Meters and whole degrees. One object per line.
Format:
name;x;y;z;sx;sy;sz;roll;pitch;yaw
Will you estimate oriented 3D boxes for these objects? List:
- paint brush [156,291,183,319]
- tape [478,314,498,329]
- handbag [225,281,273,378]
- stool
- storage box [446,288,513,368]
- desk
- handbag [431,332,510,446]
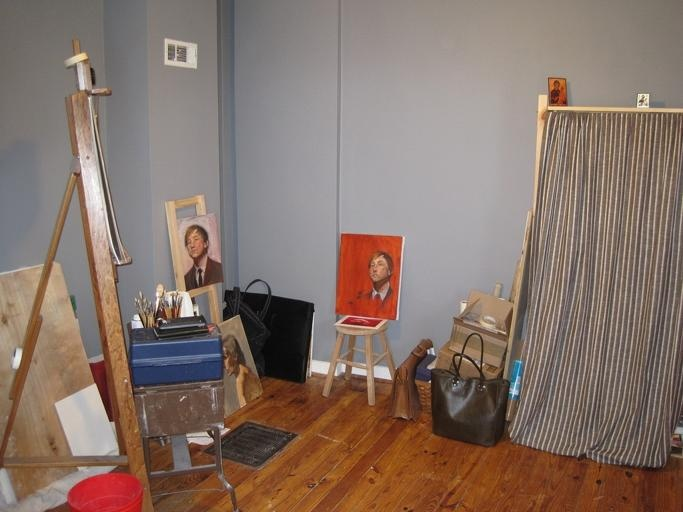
paint brush;-1.105;0.315;3.143;0.145;0.224;0.078;0;10;-25
tape;1.072;0.480;3.573;0.084;0.023;0.084;-9;19;-39
handbag;-0.784;0.654;4.160;0.307;0.923;0.692;3;2;-22
stool;0.159;0.807;4.160;0.551;0.627;0.547;11;25;32
storage box;1.047;0.468;3.761;0.494;0.634;0.469;16;6;24
desk;-0.922;1.113;2.854;0.485;0.759;0.441;-6;27;-14
handbag;0.923;0.958;3.447;0.583;0.941;0.307;3;7;26
